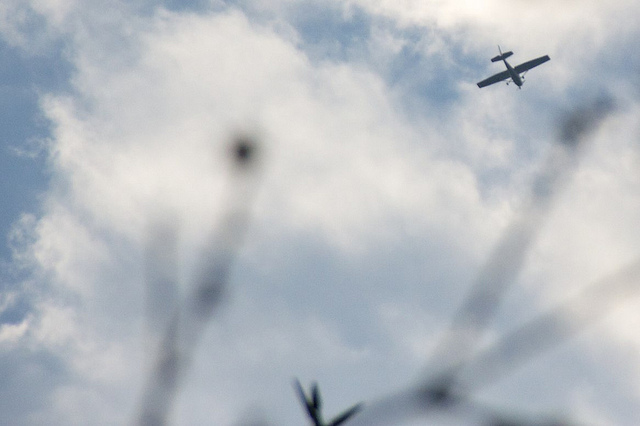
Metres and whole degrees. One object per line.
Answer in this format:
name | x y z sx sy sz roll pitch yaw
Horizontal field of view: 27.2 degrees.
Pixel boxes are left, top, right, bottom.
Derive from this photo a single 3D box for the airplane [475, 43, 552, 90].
airplane | 36.108 -27.383 253.202 14.033 3.593 10.492 -31 -45 32
